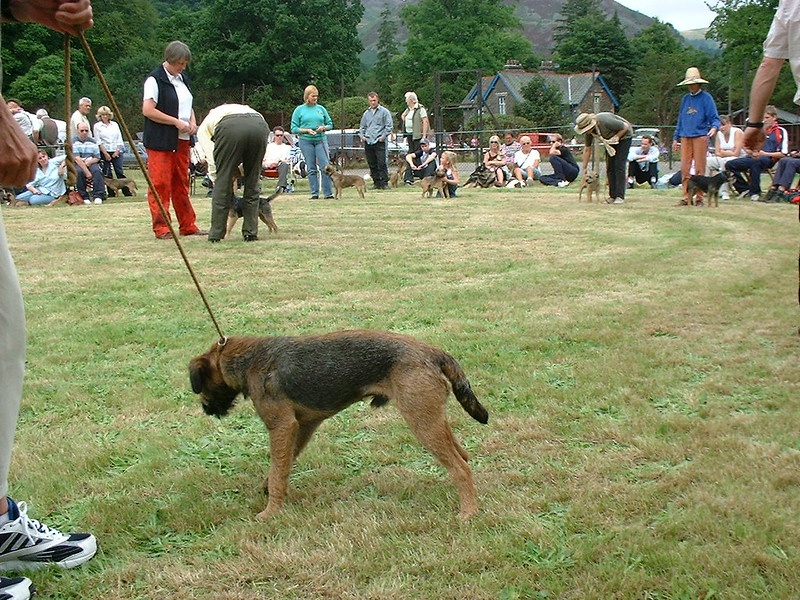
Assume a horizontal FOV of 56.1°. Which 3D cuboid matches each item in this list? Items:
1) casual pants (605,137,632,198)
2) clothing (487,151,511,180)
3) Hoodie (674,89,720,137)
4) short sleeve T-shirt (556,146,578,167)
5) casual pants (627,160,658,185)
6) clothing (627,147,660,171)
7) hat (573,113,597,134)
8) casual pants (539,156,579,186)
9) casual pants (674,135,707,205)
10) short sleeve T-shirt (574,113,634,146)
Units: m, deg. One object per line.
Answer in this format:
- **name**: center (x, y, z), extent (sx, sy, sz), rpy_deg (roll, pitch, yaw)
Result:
- **casual pants**: center (4.502, -2.729, 15.695), extent (0.440, 1.273, 0.674), rpy_deg (2, 12, 14)
- **clothing**: center (2.884, -3.939, 22.156), extent (0.685, 0.788, 0.897), rpy_deg (0, 12, 0)
- **Hoodie**: center (5.674, -3.581, 14.404), extent (0.849, 0.894, 0.461), rpy_deg (10, 15, 40)
- **short sleeve T-shirt**: center (4.636, -4.030, 21.158), extent (0.421, 0.656, 0.968), rpy_deg (7, 13, 30)
- **casual pants**: center (6.569, -3.467, 20.399), extent (0.584, 0.866, 0.892), rpy_deg (3, 12, 24)
- **clothing**: center (6.723, -3.881, 20.698), extent (1.069, 0.648, 1.403), rpy_deg (2, 5, 26)
- **hat**: center (3.732, -3.592, 15.269), extent (0.194, 0.452, 0.501), rpy_deg (42, 12, -7)
- **casual pants**: center (4.574, -3.623, 21.527), extent (1.019, 0.983, 0.749), rpy_deg (11, 4, 1)
- **casual pants**: center (5.835, -2.597, 15.074), extent (0.495, 1.325, 0.715), rpy_deg (4, 13, 21)
- **short sleeve T-shirt**: center (4.141, -3.470, 15.188), extent (0.957, 0.440, 0.671), rpy_deg (-4, 9, -14)
